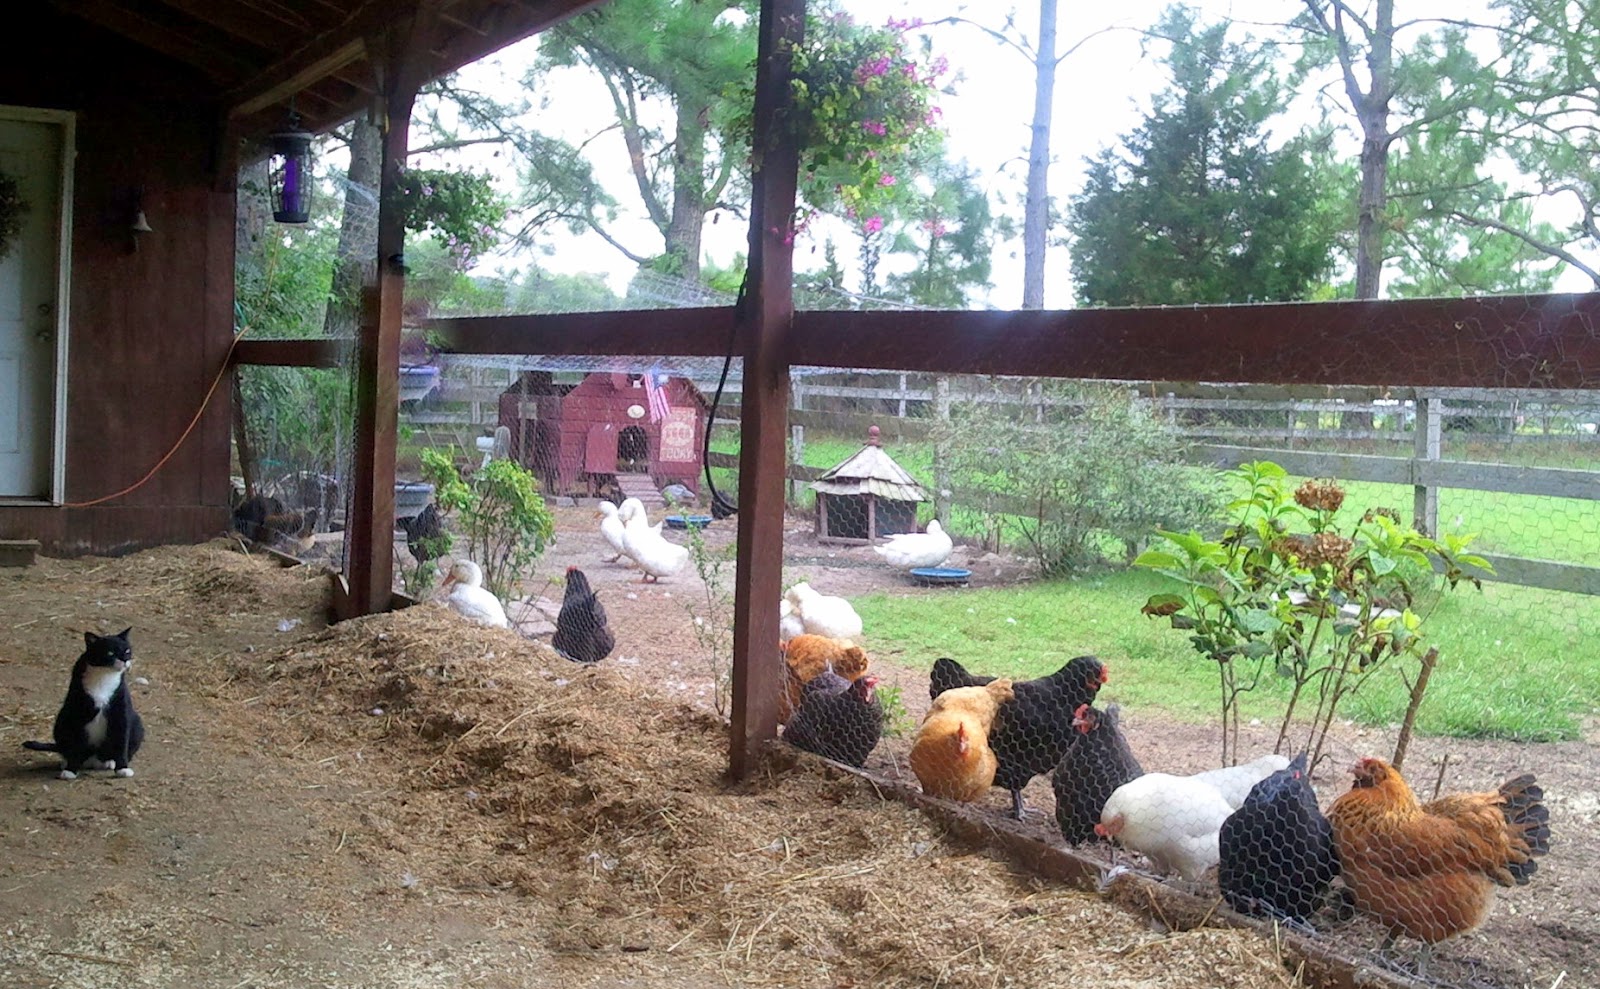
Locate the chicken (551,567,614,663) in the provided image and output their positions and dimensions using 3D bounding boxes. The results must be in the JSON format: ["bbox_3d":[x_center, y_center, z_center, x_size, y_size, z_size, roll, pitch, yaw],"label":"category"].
[{"bbox_3d":[-1.561,0.804,9.234,0.493,0.607,0.582,-5,15,-26],"label":"chicken"}]

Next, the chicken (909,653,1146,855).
[{"bbox_3d":[0.953,1.303,7.208,0.672,0.986,1.768,1,0,11],"label":"chicken"}]

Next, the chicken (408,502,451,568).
[{"bbox_3d":[-2.905,0.298,10.363,0.329,0.464,0.291,3,5,-9],"label":"chicken"}]

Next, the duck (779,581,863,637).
[{"bbox_3d":[0.136,0.794,8.819,0.486,0.335,0.549,3,4,-1],"label":"duck"}]

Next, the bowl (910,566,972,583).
[{"bbox_3d":[1.204,0.711,11.555,0.516,0.142,0.307,4,4,3],"label":"bowl"}]

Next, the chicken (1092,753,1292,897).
[{"bbox_3d":[1.841,1.659,6.824,1.029,0.689,0.521,-8,-3,-4],"label":"chicken"}]

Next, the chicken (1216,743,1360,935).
[{"bbox_3d":[2.385,1.652,6.497,0.539,0.889,0.820,2,9,21],"label":"chicken"}]

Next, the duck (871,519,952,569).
[{"bbox_3d":[1.007,0.462,11.769,0.599,0.473,0.464,5,5,18],"label":"duck"}]

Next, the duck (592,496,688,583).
[{"bbox_3d":[-1.349,0.409,11.864,0.824,0.703,0.473,5,5,18],"label":"duck"}]
